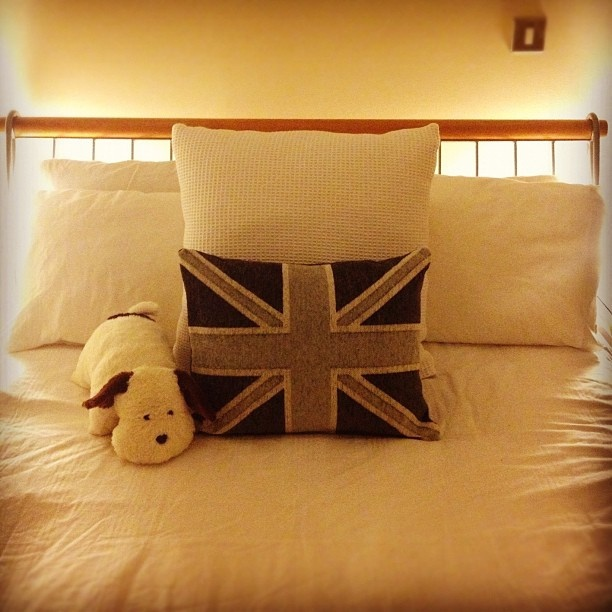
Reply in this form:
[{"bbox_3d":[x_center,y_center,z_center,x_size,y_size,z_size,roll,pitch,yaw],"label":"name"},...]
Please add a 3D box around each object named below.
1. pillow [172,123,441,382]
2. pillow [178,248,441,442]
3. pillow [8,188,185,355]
[{"bbox_3d":[-0.004,-0.106,1.269,0.425,0.485,0.178,0,-11,4],"label":"pillow"},{"bbox_3d":[0.006,0.077,1.234,0.445,0.386,0.175,-1,-5,-3],"label":"pillow"},{"bbox_3d":[-0.494,-0.096,1.564,0.343,0.393,0.115,-1,-18,9],"label":"pillow"}]
